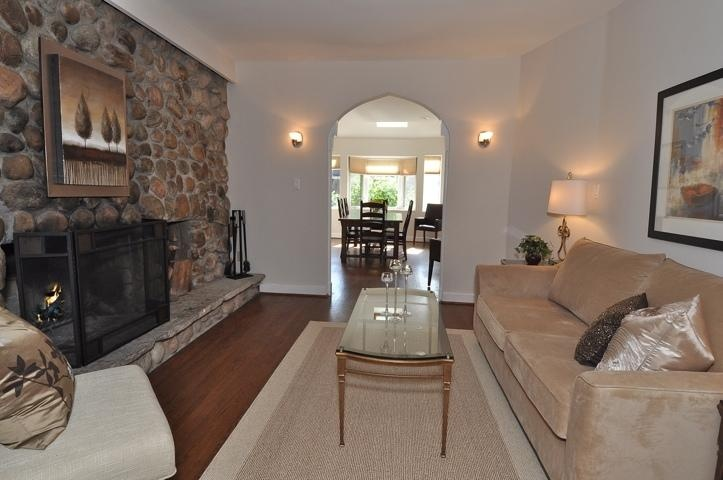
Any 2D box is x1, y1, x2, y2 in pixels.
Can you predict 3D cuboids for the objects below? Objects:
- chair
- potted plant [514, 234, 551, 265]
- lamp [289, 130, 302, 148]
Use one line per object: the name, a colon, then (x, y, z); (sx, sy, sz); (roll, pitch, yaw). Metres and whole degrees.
chair: (0.353, -0.078, 8.834); (1.271, 1.153, 2.146); (0, 3, 11)
potted plant: (1.746, 0.083, 4.746); (0.313, 0.290, 0.317); (-3, 7, -16)
lamp: (-0.782, -1.223, 5.580); (0.163, 0.177, 0.111); (1, 2, -10)
